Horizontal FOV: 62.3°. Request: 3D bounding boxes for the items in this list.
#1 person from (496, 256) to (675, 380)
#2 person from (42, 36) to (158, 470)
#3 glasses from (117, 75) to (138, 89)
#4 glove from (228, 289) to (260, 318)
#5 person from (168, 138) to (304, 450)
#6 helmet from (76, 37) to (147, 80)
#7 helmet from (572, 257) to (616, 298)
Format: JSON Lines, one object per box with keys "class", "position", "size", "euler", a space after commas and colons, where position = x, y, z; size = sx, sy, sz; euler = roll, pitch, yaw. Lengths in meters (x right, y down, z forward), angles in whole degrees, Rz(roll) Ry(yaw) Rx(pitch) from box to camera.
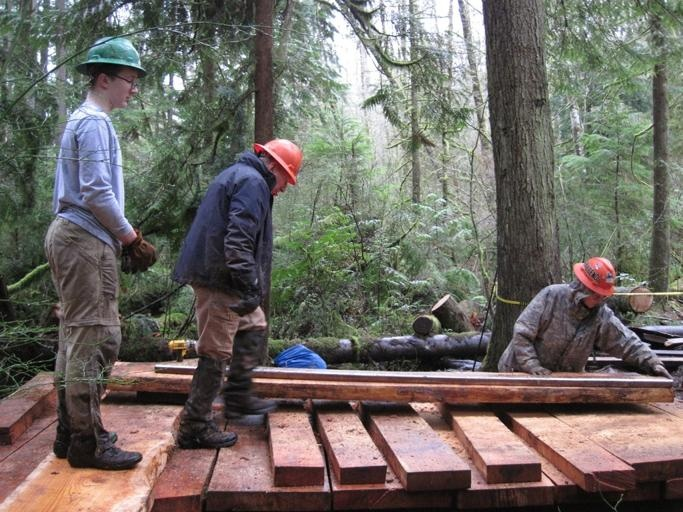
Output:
{"class": "person", "position": [2.457, 0.620, 5.733], "size": [1.342, 1.203, 0.410], "euler": [2, 12, 2]}
{"class": "person", "position": [-1.777, -0.057, 4.095], "size": [0.743, 3.019, 1.001], "euler": [-2, 13, -13]}
{"class": "glasses", "position": [-1.617, -1.298, 4.213], "size": [0.110, 0.034, 0.108], "euler": [18, 3, 17]}
{"class": "glove", "position": [-0.789, 0.392, 4.624], "size": [0.171, 0.101, 0.225], "euler": [0, 26, 48]}
{"class": "person", "position": [-0.919, 0.294, 4.834], "size": [0.702, 2.526, 1.164], "euler": [8, 14, 29]}
{"class": "helmet", "position": [-1.691, -1.467, 4.152], "size": [0.413, 0.215, 0.389], "euler": [0, 0, 20]}
{"class": "helmet", "position": [2.557, 0.184, 5.600], "size": [0.406, 0.219, 0.395], "euler": [36, 40, 15]}
